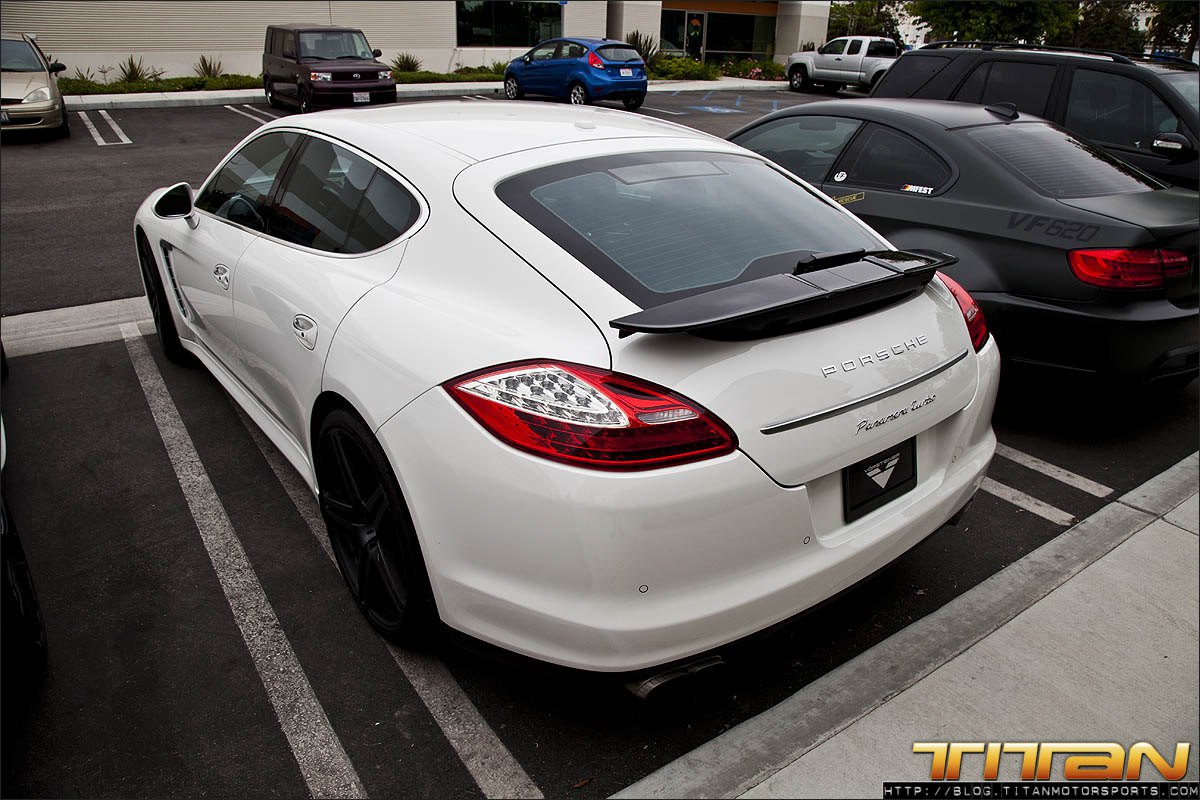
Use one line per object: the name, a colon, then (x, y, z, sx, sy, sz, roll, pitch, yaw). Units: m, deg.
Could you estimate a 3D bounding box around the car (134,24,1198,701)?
car: (-0.276, -0.209, 3.087, 3.397, 2.081, 2.013, 20, 32, 36)
